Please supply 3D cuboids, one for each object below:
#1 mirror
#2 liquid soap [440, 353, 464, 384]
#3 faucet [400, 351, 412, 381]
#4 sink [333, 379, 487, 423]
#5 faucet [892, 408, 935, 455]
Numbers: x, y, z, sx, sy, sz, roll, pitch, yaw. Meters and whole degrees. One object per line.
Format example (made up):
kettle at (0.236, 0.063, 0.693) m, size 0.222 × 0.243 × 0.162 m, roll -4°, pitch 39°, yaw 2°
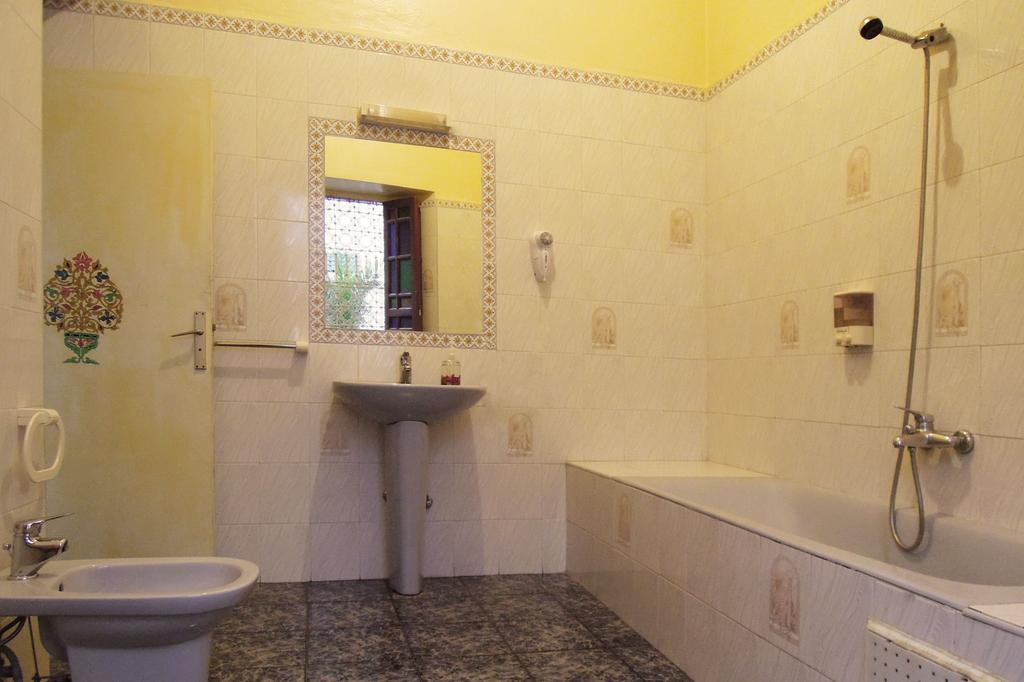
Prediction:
mirror at (-0.639, -0.557, 4.068) m, size 1.155 × 1.446 × 0.037 m, roll 0°, pitch 0°, yaw -13°
liquid soap at (-0.336, 0.152, 4.113) m, size 0.141 × 0.235 × 0.078 m, roll 2°, pitch -3°, yaw -22°
faucet at (-0.563, 0.140, 4.028) m, size 0.066 × 0.163 × 0.109 m, roll 0°, pitch 8°, yaw -10°
sink at (-0.513, 0.322, 3.791) m, size 0.757 × 0.248 × 0.212 m, roll 0°, pitch 8°, yaw -10°
faucet at (1.674, 0.377, 3.131) m, size 0.213 × 0.148 × 0.128 m, roll 2°, pitch -3°, yaw -35°
